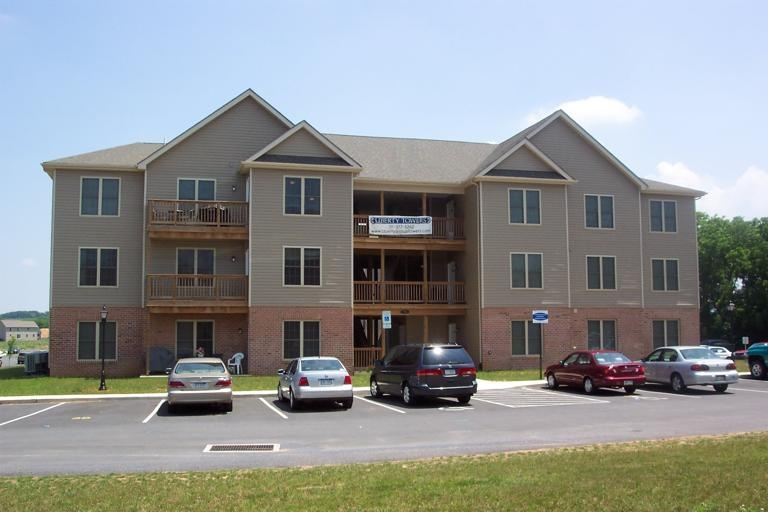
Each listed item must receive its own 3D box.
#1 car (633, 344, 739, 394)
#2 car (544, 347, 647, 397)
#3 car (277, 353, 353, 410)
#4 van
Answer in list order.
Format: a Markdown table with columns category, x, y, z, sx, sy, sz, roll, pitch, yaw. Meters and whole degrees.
| category | x | y | z | sx | sy | sz | roll | pitch | yaw |
| --- | --- | --- | --- | --- | --- | --- | --- | --- | --- |
| car | 12.023 | 4.487 | 30.451 | 1.461 | 1.736 | 3.097 | 5 | -11 | -35 |
| car | 8.379 | 4.627 | 30.625 | 1.449 | 1.679 | 3.405 | 6 | -11 | -36 |
| car | -2.539 | 4.430 | 26.826 | 2.712 | 1.809 | 1.663 | -10 | -13 | 44 |
| van | 1.221 | 4.343 | 28.308 | 2.079 | 1.279 | 3.566 | 4 | -9 | -26 |
